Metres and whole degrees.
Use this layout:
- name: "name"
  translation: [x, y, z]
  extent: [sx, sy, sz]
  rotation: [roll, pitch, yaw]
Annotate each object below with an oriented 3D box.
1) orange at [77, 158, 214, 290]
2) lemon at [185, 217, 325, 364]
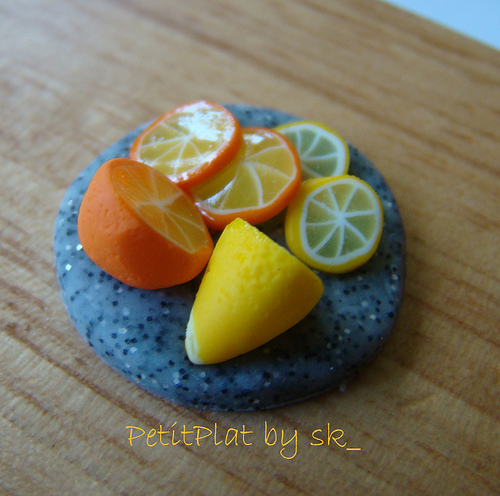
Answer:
- name: "orange"
  translation: [-0.145, -0.052, 0.972]
  extent: [0.197, 0.129, 0.193]
  rotation: [47, 22, -10]
- name: "lemon"
  translation: [0.006, 0.068, 0.903]
  extent: [0.154, 0.141, 0.131]
  rotation: [-52, 26, -4]
